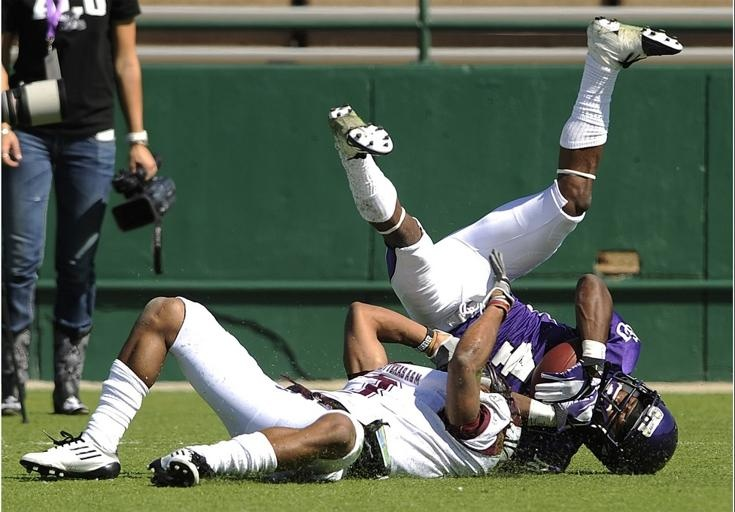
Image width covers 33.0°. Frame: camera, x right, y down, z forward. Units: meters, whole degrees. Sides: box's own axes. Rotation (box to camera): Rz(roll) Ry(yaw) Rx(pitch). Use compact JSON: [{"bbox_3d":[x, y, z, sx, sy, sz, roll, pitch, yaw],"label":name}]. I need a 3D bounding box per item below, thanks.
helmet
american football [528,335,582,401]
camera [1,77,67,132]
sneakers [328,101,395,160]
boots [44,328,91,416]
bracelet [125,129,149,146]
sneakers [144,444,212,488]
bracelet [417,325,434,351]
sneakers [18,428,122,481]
[{"bbox_3d":[1.369,0.872,6.619,0.541,0.442,0.409,42,-9,-32],"label":"helmet"},{"bbox_3d":[1.002,0.580,6.605,0.196,0.317,0.264,2,7,32],"label":"american football"},{"bbox_3d":[-2.006,-0.919,7.437,0.366,0.269,0.079,-2,6,-16],"label":"camera"},{"bbox_3d":[-0.044,-0.673,6.783,0.165,0.292,0.369,-5,7,-41],"label":"sneakers"},{"bbox_3d":[-1.977,0.750,8.149,0.241,0.556,0.281,-3,16,-26],"label":"boots"},{"bbox_3d":[-1.449,-0.736,7.732,0.103,0.089,0.100,-3,8,3],"label":"bracelet"},{"bbox_3d":[-0.926,1.047,6.134,0.317,0.210,0.199,-1,6,-7],"label":"sneakers"},{"bbox_3d":[0.312,0.451,6.676,0.038,0.092,0.108,16,28,-2],"label":"bracelet"},{"bbox_3d":[-1.469,1.026,6.307,0.516,0.225,0.192,1,14,-2],"label":"sneakers"}]
